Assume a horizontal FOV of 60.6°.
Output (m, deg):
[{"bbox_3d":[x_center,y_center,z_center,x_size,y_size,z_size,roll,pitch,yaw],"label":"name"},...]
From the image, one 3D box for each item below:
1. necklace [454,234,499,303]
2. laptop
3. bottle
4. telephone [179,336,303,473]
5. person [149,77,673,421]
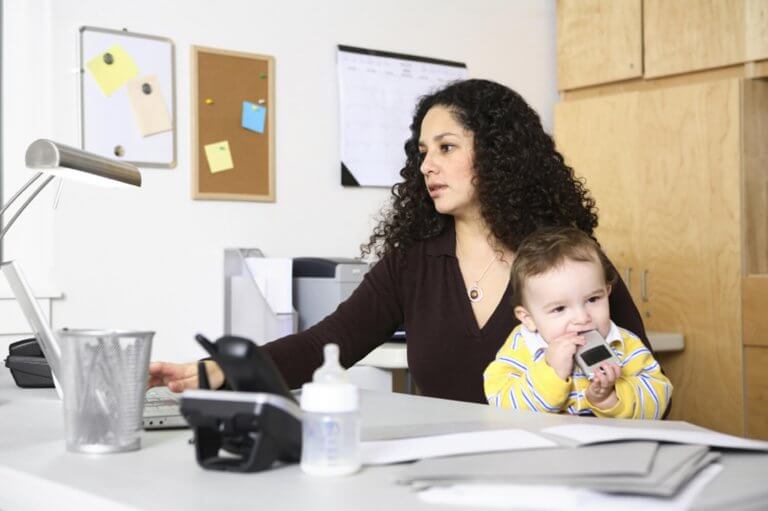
[{"bbox_3d":[0.256,0.022,1.776,0.123,0.179,0.047,-7,-20,0],"label":"necklace"},{"bbox_3d":[-0.482,0.154,1.162,0.315,0.220,0.310,2,-4,-21],"label":"laptop"},{"bbox_3d":[-0.074,0.229,0.883,0.083,0.126,0.053,-2,11,-5],"label":"bottle"},{"bbox_3d":[-0.194,0.215,0.989,0.145,0.206,0.198,-3,-2,30],"label":"telephone"},{"bbox_3d":[-0.093,-0.034,2.295,0.967,1.447,1.090,4,-13,-30],"label":"person"}]
